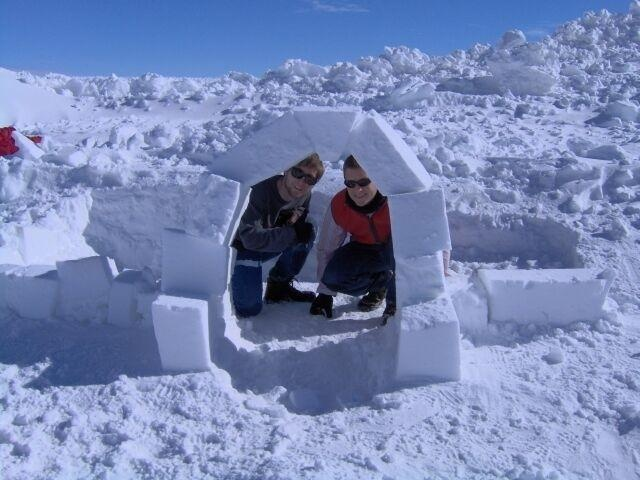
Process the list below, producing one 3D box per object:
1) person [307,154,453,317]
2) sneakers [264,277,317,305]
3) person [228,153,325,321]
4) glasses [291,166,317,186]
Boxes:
[{"bbox_3d":[0.350,-0.048,4.360,0.836,1.227,0.754,0,20,19],"label":"person"},{"bbox_3d":[-0.297,0.440,4.802,0.533,0.223,0.175,-3,11,-10],"label":"sneakers"},{"bbox_3d":[-0.335,-0.059,4.396,0.685,1.400,0.692,7,17,-1],"label":"person"},{"bbox_3d":[-0.115,-0.473,4.041,0.223,0.137,0.100,3,17,-14],"label":"glasses"}]
